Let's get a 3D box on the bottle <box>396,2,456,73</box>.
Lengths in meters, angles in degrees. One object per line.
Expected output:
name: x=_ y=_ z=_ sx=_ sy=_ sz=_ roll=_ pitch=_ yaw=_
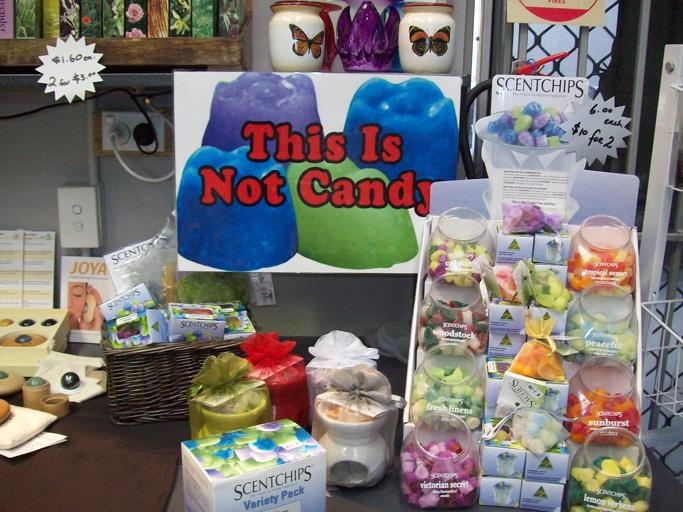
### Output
bottle: x=0.197 y=-0.501 z=1.282 sx=0.145 sy=0.173 sz=0.153 roll=-1 pitch=16 yaw=-2

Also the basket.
basket: x=-0.419 y=0.252 z=1.409 sx=0.318 sy=0.194 sz=0.300 roll=-3 pitch=12 yaw=-16

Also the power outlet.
power outlet: x=-0.610 y=-0.365 z=1.627 sx=0.185 sy=0.129 sz=0.135 roll=0 pitch=13 yaw=0
